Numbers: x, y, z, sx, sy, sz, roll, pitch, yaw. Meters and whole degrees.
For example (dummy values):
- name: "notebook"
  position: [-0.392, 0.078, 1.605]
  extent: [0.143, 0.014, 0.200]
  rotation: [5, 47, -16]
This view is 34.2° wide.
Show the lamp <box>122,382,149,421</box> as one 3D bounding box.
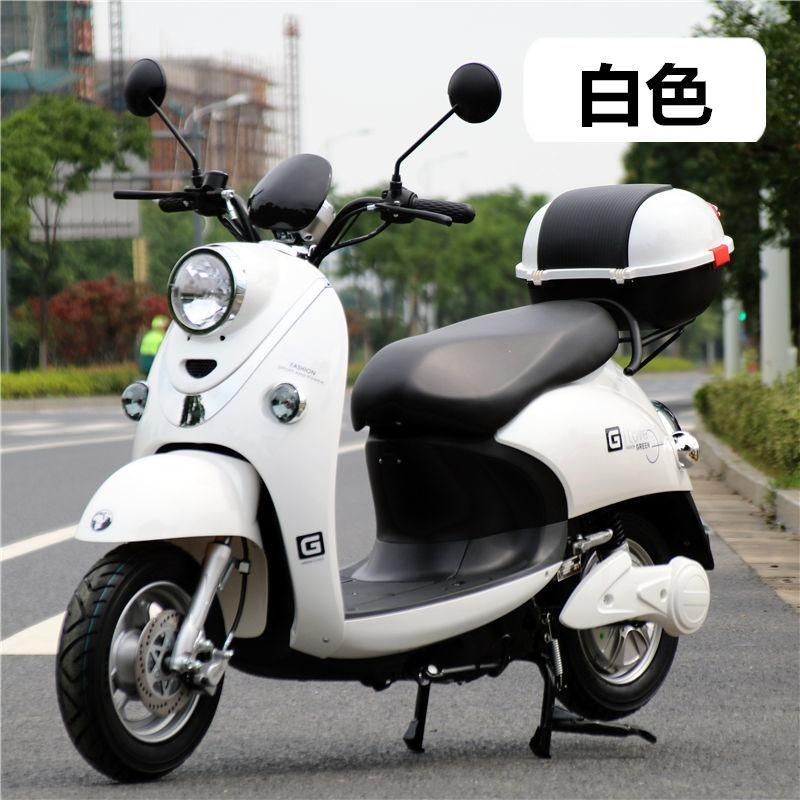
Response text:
- name: "lamp"
  position: [-0.815, 0.004, 4.042]
  extent: [0.071, 0.128, 0.090]
  rotation: [4, 11, 0]

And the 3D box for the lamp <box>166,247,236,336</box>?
- name: "lamp"
  position: [-0.579, -0.319, 3.883]
  extent: [0.187, 0.320, 0.113]
  rotation: [0, -2, 10]
